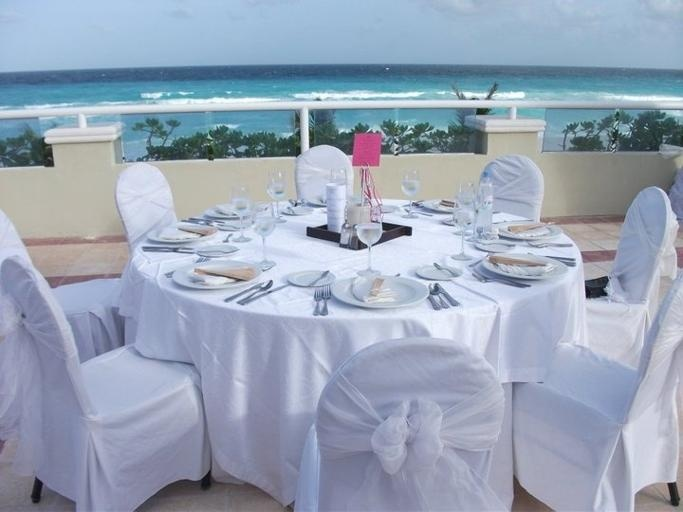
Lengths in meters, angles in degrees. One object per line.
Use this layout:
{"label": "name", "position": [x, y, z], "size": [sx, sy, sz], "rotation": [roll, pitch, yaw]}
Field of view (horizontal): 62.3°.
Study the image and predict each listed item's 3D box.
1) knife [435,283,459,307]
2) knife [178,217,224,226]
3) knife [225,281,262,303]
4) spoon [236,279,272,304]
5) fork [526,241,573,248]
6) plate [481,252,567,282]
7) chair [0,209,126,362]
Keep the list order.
{"label": "knife", "position": [0.393, 0.147, 2.087], "size": [0.031, 0.015, 0.124], "rotation": [-7, 22, -8]}
{"label": "knife", "position": [-0.747, -0.190, 3.007], "size": [0.253, 0.018, 0.080], "rotation": [6, 16, 19]}
{"label": "knife", "position": [-0.372, 0.139, 2.113], "size": [0.018, 0.017, 0.139], "rotation": [26, 32, 19]}
{"label": "spoon", "position": [-0.323, 0.114, 2.127], "size": [0.044, 0.030, 0.196], "rotation": [6, 25, 21]}
{"label": "fork", "position": [0.958, -0.050, 2.618], "size": [0.152, 0.025, 0.023], "rotation": [0, 47, 8]}
{"label": "plate", "position": [0.738, 0.051, 2.251], "size": [0.161, 0.032, 0.178], "rotation": [-1, 18, -7]}
{"label": "chair", "position": [-1.546, 0.134, 3.146], "size": [0.551, 0.895, 0.540], "rotation": [-12, 39, -32]}
